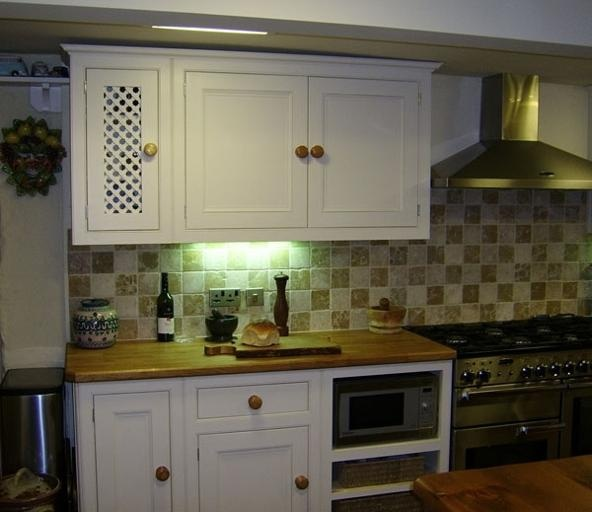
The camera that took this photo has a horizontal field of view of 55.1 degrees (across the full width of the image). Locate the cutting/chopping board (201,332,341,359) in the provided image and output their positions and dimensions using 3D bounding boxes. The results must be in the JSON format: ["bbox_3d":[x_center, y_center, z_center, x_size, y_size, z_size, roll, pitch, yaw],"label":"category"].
[{"bbox_3d":[-0.123,0.441,2.805,0.648,0.051,0.321,0,8,-10],"label":"cutting/chopping board"}]

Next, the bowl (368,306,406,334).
[{"bbox_3d":[0.505,0.342,3.147,0.162,0.101,0.160,-1,4,0],"label":"bowl"}]

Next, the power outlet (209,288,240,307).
[{"bbox_3d":[-0.381,0.221,3.063,0.171,0.105,0.094,0,10,-9],"label":"power outlet"}]

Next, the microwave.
[{"bbox_3d":[0.426,0.740,2.749,0.532,0.328,0.311,-2,8,-11],"label":"microwave"}]

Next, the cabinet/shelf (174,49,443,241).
[{"bbox_3d":[0.006,-0.529,2.982,1.267,0.880,0.440,-1,8,-15],"label":"cabinet/shelf"}]

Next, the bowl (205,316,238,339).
[{"bbox_3d":[-0.379,0.370,2.978,0.137,0.094,0.136,1,4,0],"label":"bowl"}]

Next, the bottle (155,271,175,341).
[{"bbox_3d":[-0.685,0.267,2.978,0.077,0.354,0.107,-2,8,-24],"label":"bottle"}]
